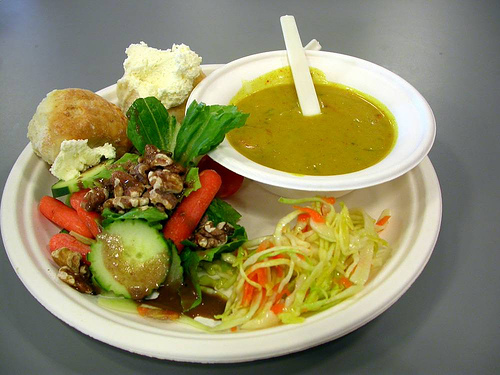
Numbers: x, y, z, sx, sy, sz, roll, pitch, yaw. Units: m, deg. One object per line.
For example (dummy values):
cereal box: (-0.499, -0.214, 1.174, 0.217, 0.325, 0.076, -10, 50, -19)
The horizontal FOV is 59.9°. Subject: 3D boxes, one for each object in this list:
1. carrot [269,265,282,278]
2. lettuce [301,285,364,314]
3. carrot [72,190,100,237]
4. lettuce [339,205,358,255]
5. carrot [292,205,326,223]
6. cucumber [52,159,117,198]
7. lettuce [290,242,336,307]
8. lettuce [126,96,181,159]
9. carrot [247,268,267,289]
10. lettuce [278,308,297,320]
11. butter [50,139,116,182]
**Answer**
carrot: (0.188, 0.560, 2.917, 0.063, 0.043, 0.103, -35, 78, -6)
lettuce: (0.522, 0.706, 2.772, 0.433, 0.077, 0.060, -20, 77, -2)
carrot: (-1.142, 0.162, 2.989, 0.079, 0.198, 0.346, -28, 101, -13)
lettuce: (0.654, 0.278, 2.933, 0.099, 0.051, 0.295, 2, 68, -6)
carrot: (0.418, 0.193, 3.068, 0.233, 0.055, 0.079, 27, 84, 19)
cucumber: (-1.198, -0.055, 3.154, 0.462, 0.201, 0.182, -28, 77, -4)
lettuce: (0.411, 0.586, 2.850, 0.080, 0.055, 0.493, 39, 61, -4)
lettuce: (-0.720, -0.459, 3.318, 0.328, 0.100, 0.497, -34, 98, 3)
carrot: (0.054, 0.602, 2.859, 0.115, 0.032, 0.117, -25, 77, -21)
lettuce: (0.232, 0.797, 2.736, 0.115, 0.133, 0.050, -10, 77, 0)
butter: (-1.204, -0.194, 3.138, 0.098, 0.327, 0.328, 50, 121, 29)
